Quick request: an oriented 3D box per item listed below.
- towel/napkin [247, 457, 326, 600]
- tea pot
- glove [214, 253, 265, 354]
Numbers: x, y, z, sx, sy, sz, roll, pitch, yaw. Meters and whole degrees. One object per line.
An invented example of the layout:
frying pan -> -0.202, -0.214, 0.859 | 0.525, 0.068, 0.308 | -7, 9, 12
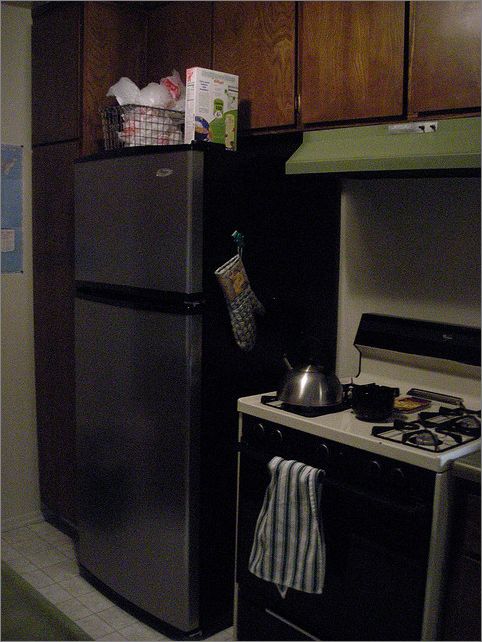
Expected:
towel/napkin -> 0.112, 0.507, 1.292 | 0.174, 0.389, 0.044 | 8, 17, 21
tea pot -> 0.184, 0.152, 1.440 | 0.119, 0.094, 0.121 | 6, 7, -1
glove -> -0.003, -0.042, 1.615 | 0.072, 0.312, 0.258 | 4, 8, 21
